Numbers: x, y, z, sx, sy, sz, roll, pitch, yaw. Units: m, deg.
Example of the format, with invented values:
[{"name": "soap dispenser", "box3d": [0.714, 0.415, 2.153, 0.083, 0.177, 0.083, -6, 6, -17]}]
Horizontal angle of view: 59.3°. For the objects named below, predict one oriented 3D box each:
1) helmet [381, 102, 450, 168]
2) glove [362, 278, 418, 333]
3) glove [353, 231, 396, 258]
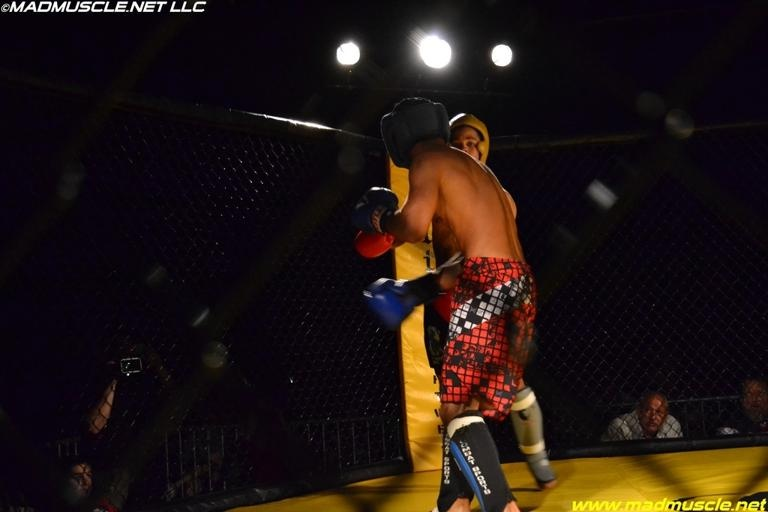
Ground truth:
[{"name": "helmet", "box3d": [0.194, -0.901, 4.715, 0.419, 0.361, 0.443, -12, -73, 23]}, {"name": "glove", "box3d": [0.027, 0.261, 4.401, 0.311, 0.346, 0.257, -26, -29, -26]}, {"name": "glove", "box3d": [-0.066, -0.089, 4.693, 0.269, 0.154, 0.205, 2, 6, 12]}]
